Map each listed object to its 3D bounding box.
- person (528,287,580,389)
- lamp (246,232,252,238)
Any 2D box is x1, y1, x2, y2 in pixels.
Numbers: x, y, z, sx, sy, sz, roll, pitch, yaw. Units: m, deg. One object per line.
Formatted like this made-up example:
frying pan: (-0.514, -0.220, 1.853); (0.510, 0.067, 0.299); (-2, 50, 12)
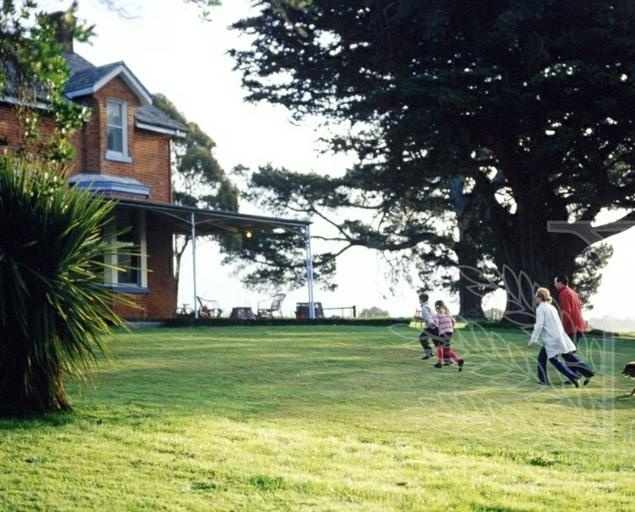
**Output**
person: (4.352, 1.532, 16.647); (0.849, 1.768, 1.425); (4, 8, 15)
lamp: (-2.369, -0.723, 30.753); (0.182, 0.203, 0.395); (-1, -7, -4)
